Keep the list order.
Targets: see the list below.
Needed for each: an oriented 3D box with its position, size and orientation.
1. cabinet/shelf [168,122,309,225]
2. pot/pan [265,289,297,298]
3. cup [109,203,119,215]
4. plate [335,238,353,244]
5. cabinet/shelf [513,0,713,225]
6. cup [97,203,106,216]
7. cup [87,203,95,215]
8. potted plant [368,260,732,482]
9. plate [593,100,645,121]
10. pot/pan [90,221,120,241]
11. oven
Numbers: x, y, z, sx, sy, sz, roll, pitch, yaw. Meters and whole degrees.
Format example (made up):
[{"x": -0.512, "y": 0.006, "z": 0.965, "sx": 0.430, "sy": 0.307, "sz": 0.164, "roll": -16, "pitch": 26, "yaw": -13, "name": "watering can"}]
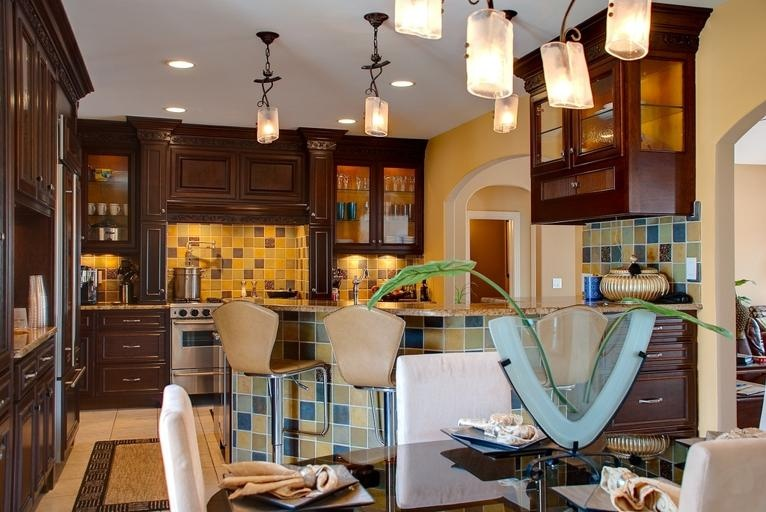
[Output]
[{"x": -1.659, "y": -0.976, "z": 6.950, "sx": 1.116, "sy": 0.747, "sz": 0.352, "roll": 1, "pitch": -5, "yaw": -19, "name": "cabinet/shelf"}, {"x": -1.215, "y": 0.438, "z": 7.319, "sx": 0.426, "sy": 0.104, "sz": 0.277, "roll": 0, "pitch": 5, "yaw": 12, "name": "pot/pan"}, {"x": -2.940, "y": -0.517, "z": 6.761, "sx": 0.131, "sy": 0.125, "sz": 0.086, "roll": 3, "pitch": -3, "yaw": -38, "name": "cup"}, {"x": -0.457, "y": -0.187, "z": 7.420, "sx": 0.195, "sy": 0.047, "sz": 0.051, "roll": -4, "pitch": 6, "yaw": -26, "name": "plate"}, {"x": 1.653, "y": -0.989, "z": 4.240, "sx": 0.683, "sy": 1.377, "sz": 1.512, "roll": 1, "pitch": -3, "yaw": -20, "name": "cabinet/shelf"}, {"x": -3.060, "y": -0.515, "z": 6.774, "sx": 0.107, "sy": 0.113, "sz": 0.115, "roll": 3, "pitch": 6, "yaw": 0, "name": "cup"}, {"x": -3.157, "y": -0.517, "z": 6.693, "sx": 0.109, "sy": 0.117, "sz": 0.083, "roll": 1, "pitch": -5, "yaw": -25, "name": "cup"}, {"x": 0.595, "y": 0.249, "z": 2.755, "sx": 1.265, "sy": 0.571, "sz": 1.161, "roll": -1, "pitch": 5, "yaw": 1, "name": "potted plant"}, {"x": 1.695, "y": -1.053, "z": 4.461, "sx": 0.213, "sy": 0.076, "sz": 0.211, "roll": -1, "pitch": 0, "yaw": -30, "name": "plate"}, {"x": -3.028, "y": -0.275, "z": 6.751, "sx": 0.258, "sy": 0.213, "sz": 0.202, "roll": -1, "pitch": -2, "yaw": 29, "name": "pot/pan"}, {"x": -2.211, "y": 1.070, "z": 6.925, "sx": 0.679, "sy": 1.072, "sz": 0.820, "roll": 2, "pitch": -12, "yaw": -36, "name": "oven"}]
